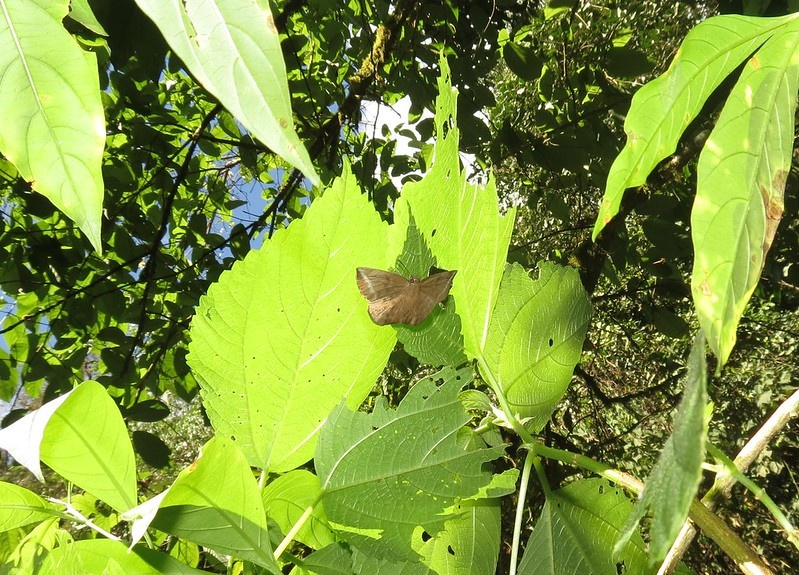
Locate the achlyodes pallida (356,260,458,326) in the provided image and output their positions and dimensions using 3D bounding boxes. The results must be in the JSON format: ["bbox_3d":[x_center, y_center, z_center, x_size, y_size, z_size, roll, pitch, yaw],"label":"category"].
[{"bbox_3d":[0.008,0.011,0.958,0.130,0.084,0.031,4,-1,-5],"label":"achlyodes pallida"}]
